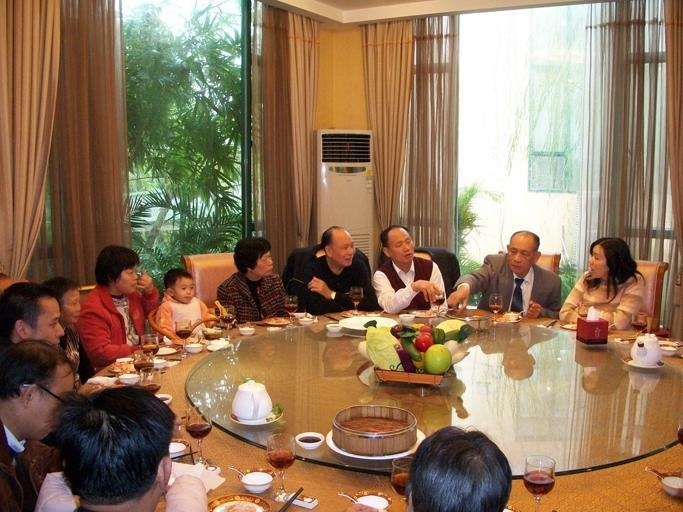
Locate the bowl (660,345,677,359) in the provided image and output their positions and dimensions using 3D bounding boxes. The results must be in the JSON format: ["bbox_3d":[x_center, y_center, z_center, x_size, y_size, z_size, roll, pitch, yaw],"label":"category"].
[{"bbox_3d":[1.579,0.456,2.663,0.060,0.032,0.066,-3,5,0],"label":"bowl"}]

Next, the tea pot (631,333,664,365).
[{"bbox_3d":[1.355,0.423,2.453,0.091,0.117,0.145,-3,-10,40],"label":"tea pot"}]

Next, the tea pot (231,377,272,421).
[{"bbox_3d":[-0.319,0.512,1.956,0.102,0.113,0.140,1,8,-8],"label":"tea pot"}]

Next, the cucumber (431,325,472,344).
[{"bbox_3d":[0.492,0.326,2.474,0.218,0.098,0.072,-4,10,-35],"label":"cucumber"}]

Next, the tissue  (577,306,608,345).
[{"bbox_3d":[1.295,0.349,2.875,0.145,0.233,0.213,1,2,34],"label":"tissue "}]

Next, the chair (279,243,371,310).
[{"bbox_3d":[-0.119,0.170,4.360,0.445,0.709,0.568,-3,-19,-15],"label":"chair"}]

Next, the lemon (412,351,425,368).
[{"bbox_3d":[0.304,0.418,2.248,0.031,0.073,0.022,-2,10,30],"label":"lemon"}]

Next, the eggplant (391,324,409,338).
[{"bbox_3d":[0.251,0.327,2.390,0.059,0.082,0.061,5,5,35],"label":"eggplant"}]

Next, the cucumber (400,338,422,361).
[{"bbox_3d":[0.280,0.376,2.290,0.107,0.052,0.043,53,7,37],"label":"cucumber"}]

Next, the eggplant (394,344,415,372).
[{"bbox_3d":[0.253,0.423,2.258,0.038,0.142,0.042,-13,-12,-23],"label":"eggplant"}]

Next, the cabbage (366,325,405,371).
[{"bbox_3d":[0.170,0.384,2.281,0.119,0.176,0.055,-22,-7,9],"label":"cabbage"}]

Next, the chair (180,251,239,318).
[{"bbox_3d":[-0.958,0.177,4.005,0.331,0.553,0.363,0,-5,-32],"label":"chair"}]

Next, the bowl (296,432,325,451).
[{"bbox_3d":[-0.109,0.618,1.850,0.099,0.028,0.089,2,8,20],"label":"bowl"}]
